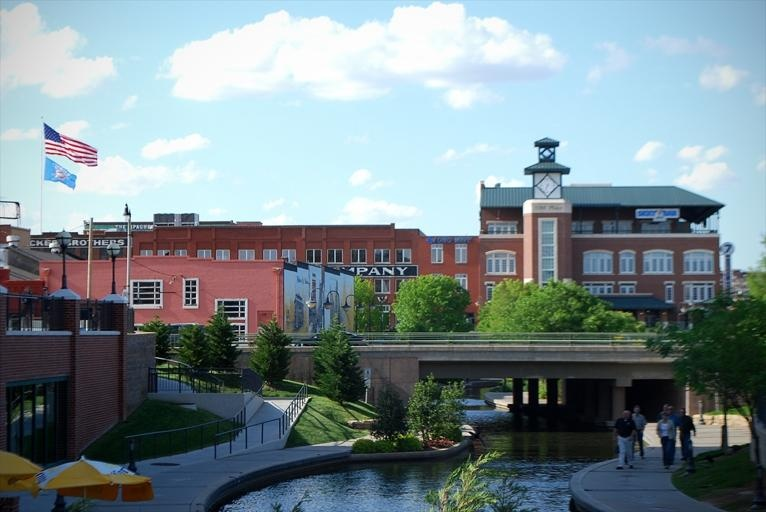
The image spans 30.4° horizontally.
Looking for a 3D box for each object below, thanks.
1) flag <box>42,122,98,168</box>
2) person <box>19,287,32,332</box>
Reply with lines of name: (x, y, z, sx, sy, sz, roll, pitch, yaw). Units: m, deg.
flag: (-20.367, -7.381, 92.876, 3.579, 2.639, 2.914, 9, -2, -23)
person: (-20.144, 3.082, 80.108, 0.184, 1.973, 0.713, 9, -2, 28)
